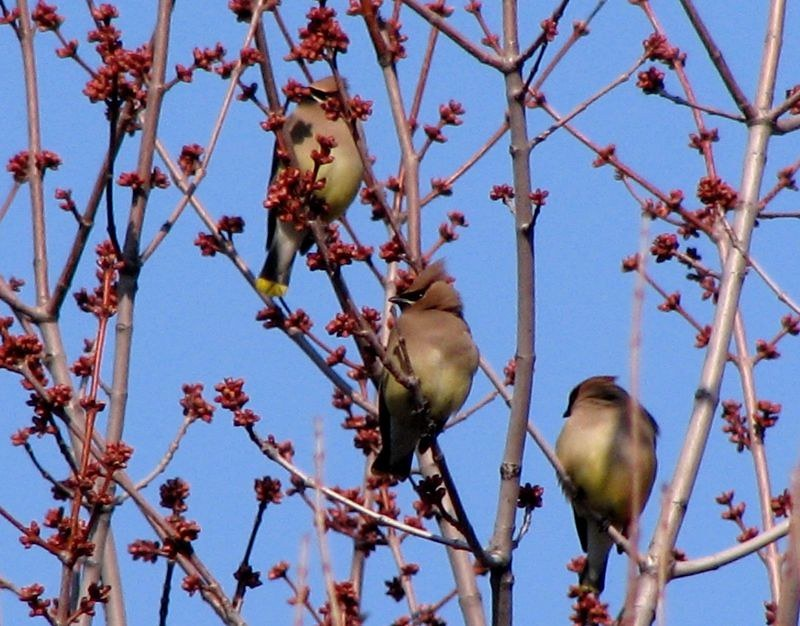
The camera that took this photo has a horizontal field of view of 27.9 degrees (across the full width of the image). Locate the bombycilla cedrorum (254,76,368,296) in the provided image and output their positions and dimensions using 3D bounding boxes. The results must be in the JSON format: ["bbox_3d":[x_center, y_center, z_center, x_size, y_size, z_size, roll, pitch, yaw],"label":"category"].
[{"bbox_3d":[-0.464,-0.611,7.759,0.572,1.156,0.394,-5,-39,-7],"label":"bombycilla cedrorum"}]
